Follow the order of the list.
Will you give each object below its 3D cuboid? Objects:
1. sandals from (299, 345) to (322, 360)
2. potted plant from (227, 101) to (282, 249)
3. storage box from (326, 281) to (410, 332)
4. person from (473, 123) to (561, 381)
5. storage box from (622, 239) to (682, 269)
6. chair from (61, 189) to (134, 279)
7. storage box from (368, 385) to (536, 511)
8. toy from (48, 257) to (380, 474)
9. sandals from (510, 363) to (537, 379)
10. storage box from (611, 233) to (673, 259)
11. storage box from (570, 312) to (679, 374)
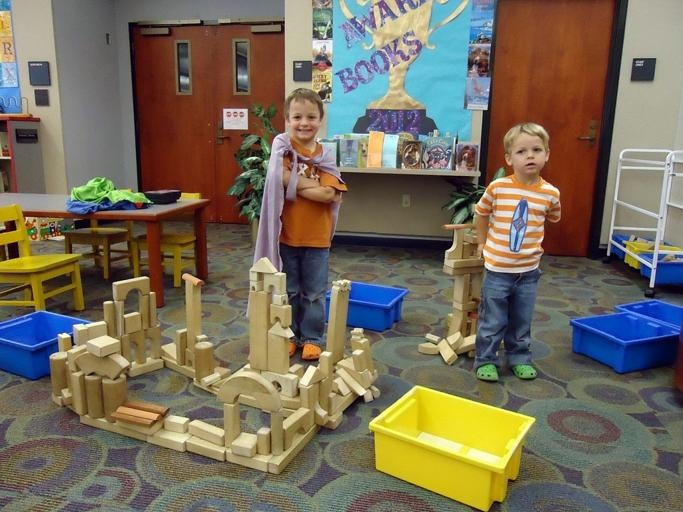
[{"bbox_3d":[-0.155,0.504,2.682,0.069,0.047,0.120,0,2,-5],"label":"sandals"},{"bbox_3d":[-0.759,-0.725,5.053,0.715,1.319,0.630,2,18,-2],"label":"potted plant"},{"bbox_3d":[0.114,0.315,3.218,0.549,0.168,0.445,9,13,22],"label":"storage box"},{"bbox_3d":[0.846,-0.005,2.487,0.406,1.220,0.339,3,16,10],"label":"person"},{"bbox_3d":[2.479,-0.035,4.084,0.248,0.103,0.377,0,12,3],"label":"storage box"},{"bbox_3d":[-1.908,-0.171,4.028,0.471,0.539,0.434,12,0,-29],"label":"chair"},{"bbox_3d":[0.401,0.716,1.963,0.551,0.189,0.383,13,23,34],"label":"storage box"},{"bbox_3d":[-0.547,0.510,2.192,1.252,0.469,0.873,7,15,23],"label":"toy"},{"bbox_3d":[0.909,0.572,2.542,0.063,0.042,0.108,-2,0,-15],"label":"sandals"},{"bbox_3d":[2.501,-0.091,4.322,0.233,0.084,0.337,0,9,-1],"label":"storage box"},{"bbox_3d":[1.522,0.453,2.756,0.456,0.191,0.344,-5,15,-19],"label":"storage box"}]
